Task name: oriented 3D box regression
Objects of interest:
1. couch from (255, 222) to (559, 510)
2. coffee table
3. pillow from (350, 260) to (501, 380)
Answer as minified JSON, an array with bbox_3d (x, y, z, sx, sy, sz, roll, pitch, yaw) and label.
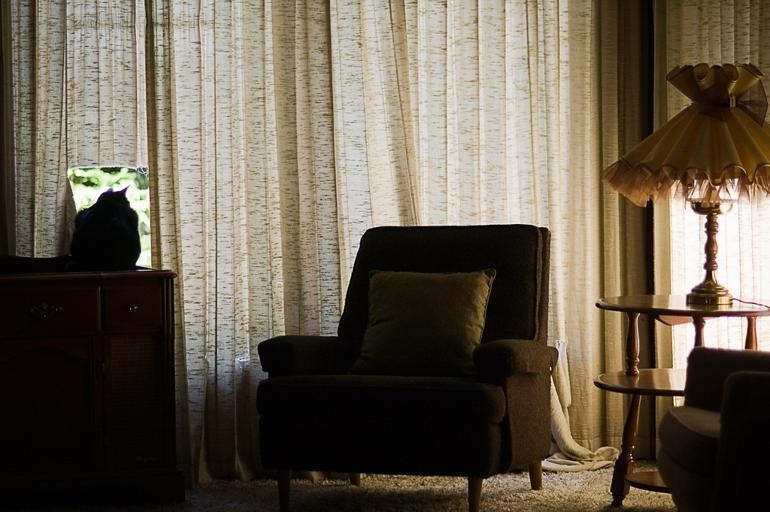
[{"bbox_3d":[0.144,0.458,4.590,1.562,1.294,1.387,-3,-12,18],"label":"couch"},{"bbox_3d":[1.325,0.649,4.482,1.093,0.938,0.966,1,-4,1],"label":"coffee table"},{"bbox_3d":[0.177,0.319,4.280,0.663,0.455,0.306,0,8,33],"label":"pillow"}]
